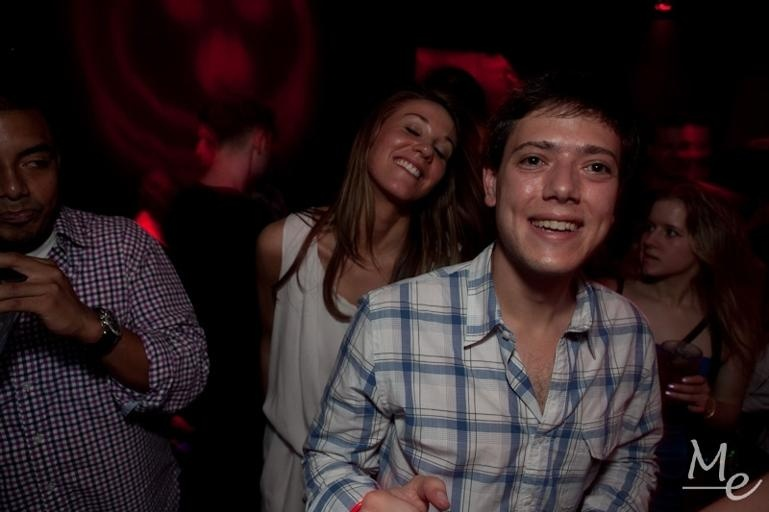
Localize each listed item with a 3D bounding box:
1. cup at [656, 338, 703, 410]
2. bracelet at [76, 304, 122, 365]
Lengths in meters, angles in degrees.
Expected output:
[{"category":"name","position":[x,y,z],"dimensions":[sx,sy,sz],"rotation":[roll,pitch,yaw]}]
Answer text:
[{"category":"cup","position":[1.651,0.661,3.609],"dimensions":[0.306,0.435,0.259],"rotation":[-3,6,0]},{"category":"bracelet","position":[-1.276,0.345,2.910],"dimensions":[0.087,0.221,0.198],"rotation":[-8,44,-42]}]
